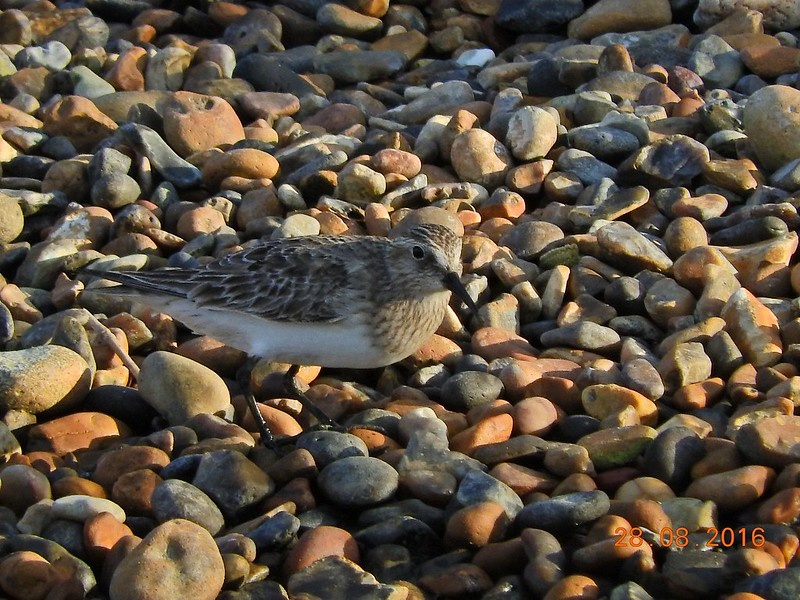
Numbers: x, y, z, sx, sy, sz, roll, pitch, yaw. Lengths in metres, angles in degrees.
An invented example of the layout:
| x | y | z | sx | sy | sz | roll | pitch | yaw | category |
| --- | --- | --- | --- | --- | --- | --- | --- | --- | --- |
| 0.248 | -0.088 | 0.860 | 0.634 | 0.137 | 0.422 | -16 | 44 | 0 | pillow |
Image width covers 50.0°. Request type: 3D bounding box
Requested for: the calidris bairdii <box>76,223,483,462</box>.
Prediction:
| x | y | z | sx | sy | sz | roll | pitch | yaw | category |
| --- | --- | --- | --- | --- | --- | --- | --- | --- | --- |
| -0.741 | 0.066 | 5.974 | 2.818 | 1.233 | 1.040 | 6 | 23 | 19 | calidris bairdii |
